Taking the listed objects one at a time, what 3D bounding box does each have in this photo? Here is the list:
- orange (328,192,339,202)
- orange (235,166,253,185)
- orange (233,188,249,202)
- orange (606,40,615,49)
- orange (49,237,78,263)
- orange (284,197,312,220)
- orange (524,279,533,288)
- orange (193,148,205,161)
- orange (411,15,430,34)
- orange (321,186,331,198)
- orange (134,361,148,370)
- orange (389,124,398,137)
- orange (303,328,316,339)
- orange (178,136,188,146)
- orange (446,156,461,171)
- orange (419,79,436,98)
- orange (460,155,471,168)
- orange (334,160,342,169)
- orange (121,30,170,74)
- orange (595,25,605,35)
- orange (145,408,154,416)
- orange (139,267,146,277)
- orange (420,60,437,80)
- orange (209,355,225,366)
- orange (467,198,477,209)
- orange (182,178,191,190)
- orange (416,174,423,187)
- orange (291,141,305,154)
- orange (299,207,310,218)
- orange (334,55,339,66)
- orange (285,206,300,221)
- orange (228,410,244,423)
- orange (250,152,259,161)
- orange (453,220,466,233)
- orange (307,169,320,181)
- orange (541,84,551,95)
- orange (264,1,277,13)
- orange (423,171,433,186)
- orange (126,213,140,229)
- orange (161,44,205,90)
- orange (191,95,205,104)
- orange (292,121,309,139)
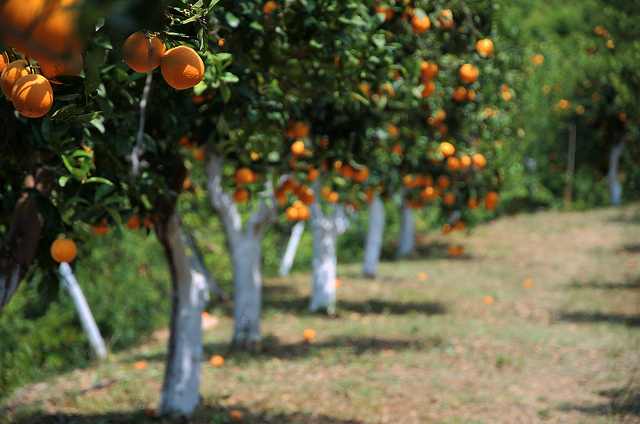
[{"bbox_3d":[0.167,-0.180,9.693,0.124,0.126,0.219,1,14,0],"label":"orange"},{"bbox_3d":[-0.798,-0.375,8.413,0.151,0.184,0.203,-17,21,2],"label":"orange"},{"bbox_3d":[-0.859,-0.178,8.711,0.164,0.155,0.190,0,13,-5],"label":"orange"},{"bbox_3d":[4.111,-2.365,11.361,0.032,0.107,0.078,-14,-22,-47],"label":"orange"},{"bbox_3d":[-2.222,0.286,6.954,0.167,0.280,0.193,13,-4,-17],"label":"orange"},{"bbox_3d":[-0.254,0.000,9.421,0.196,0.303,0.148,0,-6,7],"label":"orange"},{"bbox_3d":[2.767,0.963,10.633,0.103,0.073,0.167,4,15,13],"label":"orange"},{"bbox_3d":[-1.321,-0.599,8.741,0.090,0.113,0.124,-11,-30,3],"label":"orange"},{"bbox_3d":[0.969,-1.794,7.770,0.136,0.158,0.161,0,33,-3],"label":"orange"},{"bbox_3d":[0.073,-0.243,10.052,0.108,0.137,0.119,10,16,8],"label":"orange"},{"bbox_3d":[-2.026,1.734,9.074,0.139,0.095,0.219,-2,15,-14],"label":"orange"},{"bbox_3d":[0.804,-0.899,8.874,0.108,0.134,0.053,-8,14,-34],"label":"orange"},{"bbox_3d":[-0.129,1.482,9.700,0.111,0.131,0.114,-1,-6,-38],"label":"orange"},{"bbox_3d":[-1.331,-0.687,7.801,0.037,0.095,0.185,4,14,16],"label":"orange"},{"bbox_3d":[1.515,-0.535,9.071,0.132,0.156,0.078,24,0,-6],"label":"orange"},{"bbox_3d":[1.109,-1.275,8.276,0.137,0.207,0.156,2,12,12],"label":"orange"},{"bbox_3d":[1.602,-0.551,8.945,0.107,0.170,0.108,-6,3,-43],"label":"orange"},{"bbox_3d":[0.212,-0.524,9.109,0.098,0.108,0.069,6,13,21],"label":"orange"},{"bbox_3d":[-1.243,-1.102,5.565,0.210,0.328,0.237,-9,-2,13],"label":"orange"},{"bbox_3d":[3.999,-2.599,11.450,0.149,0.130,0.115,12,17,40],"label":"orange"},{"bbox_3d":[-1.768,2.094,8.323,0.053,0.037,0.056,5,8,21],"label":"orange"},{"bbox_3d":[-2.353,0.806,10.610,0.072,0.117,0.031,17,-35,-25],"label":"orange"},{"bbox_3d":[1.100,-1.429,8.217,0.149,0.218,0.178,2,34,2],"label":"orange"},{"bbox_3d":[-1.158,1.688,8.970,0.131,0.155,0.144,-20,-11,-1],"label":"orange"},{"bbox_3d":[2.048,-0.116,10.780,0.096,0.136,0.116,1,44,11],"label":"orange"},{"bbox_3d":[-1.434,-0.286,8.594,0.070,0.147,0.063,9,-5,9],"label":"orange"},{"bbox_3d":[1.243,-0.387,10.071,0.078,0.184,0.200,1,13,0],"label":"orange"},{"bbox_3d":[-0.235,-0.678,8.544,0.115,0.121,0.134,-39,-2,-17],"label":"orange"},{"bbox_3d":[-0.180,0.025,9.354,0.056,0.137,0.157,11,17,41],"label":"orange"},{"bbox_3d":[0.157,-1.409,7.475,0.035,0.095,0.088,0,13,-5],"label":"orange"},{"bbox_3d":[-0.300,0.029,9.382,0.126,0.160,0.077,8,3,15],"label":"orange"},{"bbox_3d":[-0.864,2.111,8.252,0.166,0.092,0.147,-2,14,-13],"label":"orange"},{"bbox_3d":[-0.711,-0.597,8.731,0.073,0.091,0.047,14,-2,-14],"label":"orange"},{"bbox_3d":[2.150,0.247,12.327,0.152,0.224,0.165,-8,-17,30],"label":"orange"},{"bbox_3d":[-0.074,-0.405,9.121,0.090,0.105,0.124,-29,-2,16],"label":"orange"},{"bbox_3d":[3.255,-1.755,11.525,0.154,0.149,0.053,-6,13,-26],"label":"orange"},{"bbox_3d":[-0.457,-1.872,7.330,0.086,0.109,0.053,10,3,4],"label":"orange"},{"bbox_3d":[1.366,-0.409,10.160,0.132,0.200,0.146,-5,0,19],"label":"orange"},{"bbox_3d":[-1.771,0.117,7.632,0.107,0.158,0.128,0,33,0],"label":"orange"},{"bbox_3d":[-0.991,-1.009,5.725,0.261,0.388,0.290,9,-9,-23],"label":"orange"},{"bbox_3d":[-1.149,-1.053,7.530,0.061,0.094,0.070,0,4,4],"label":"orange"},{"bbox_3d":[-0.218,-0.874,8.516,0.141,0.175,0.085,15,4,-9],"label":"orange"}]
